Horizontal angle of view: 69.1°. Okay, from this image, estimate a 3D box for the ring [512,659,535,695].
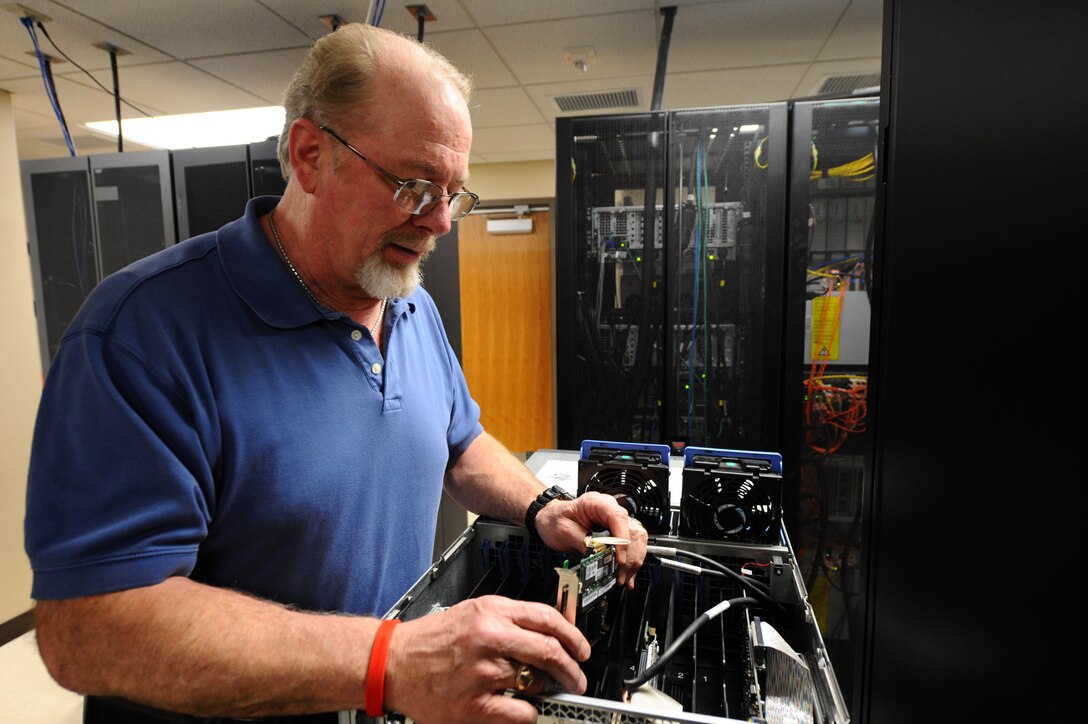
[{"bbox_3d":[-0.034,0.552,1.379,0.037,0.046,0.021,1,6,8],"label":"ring"}]

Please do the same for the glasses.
[{"bbox_3d":[-0.326,-0.385,1.680,0.218,0.060,0.213,45,13,17],"label":"glasses"}]

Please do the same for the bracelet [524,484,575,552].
[{"bbox_3d":[0.005,0.367,1.847,0.124,0.129,0.081,46,-24,-30],"label":"bracelet"}]
